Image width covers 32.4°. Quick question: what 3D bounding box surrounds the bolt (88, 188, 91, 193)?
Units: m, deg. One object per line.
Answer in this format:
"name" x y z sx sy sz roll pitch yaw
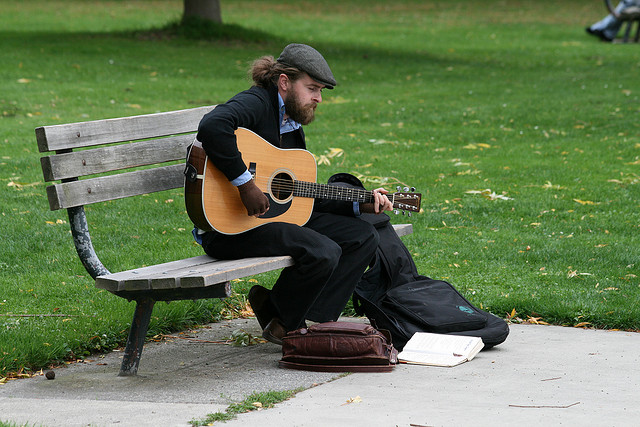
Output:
"bolt" -2.408 -0.238 11.429 0.030 0.032 0.032 -2 -7 -3

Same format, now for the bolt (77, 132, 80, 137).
"bolt" -2.519 -0.823 11.410 0.011 0.053 0.041 -7 -3 44

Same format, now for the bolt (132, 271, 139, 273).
"bolt" -1.864 0.590 11.052 0.054 0.006 0.049 -1 10 -5

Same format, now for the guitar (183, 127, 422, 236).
"guitar" -0.554 -0.368 11.449 1.736 1.075 0.360 -4 12 -21

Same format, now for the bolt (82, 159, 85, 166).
"bolt" -2.471 -0.536 11.439 0.046 0.066 0.018 1 3 -31
